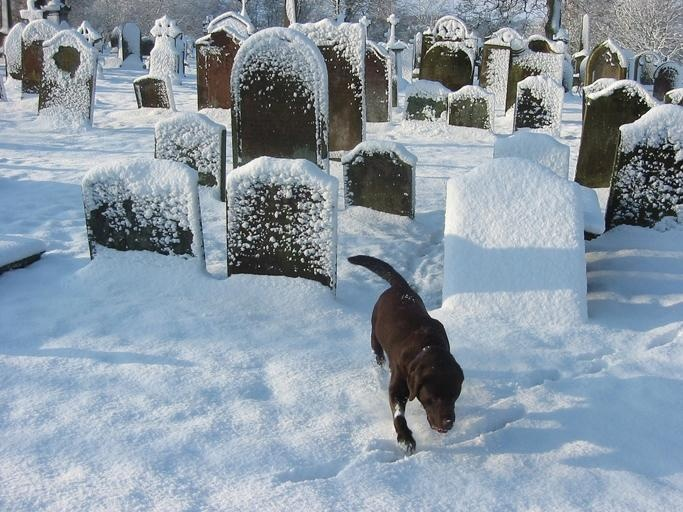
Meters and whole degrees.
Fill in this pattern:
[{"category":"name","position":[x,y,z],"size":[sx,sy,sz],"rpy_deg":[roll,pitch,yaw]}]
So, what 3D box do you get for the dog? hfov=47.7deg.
[{"category":"dog","position":[0.470,0.633,6.114],"size":[0.386,0.738,1.761],"rpy_deg":[-1,41,-13]}]
